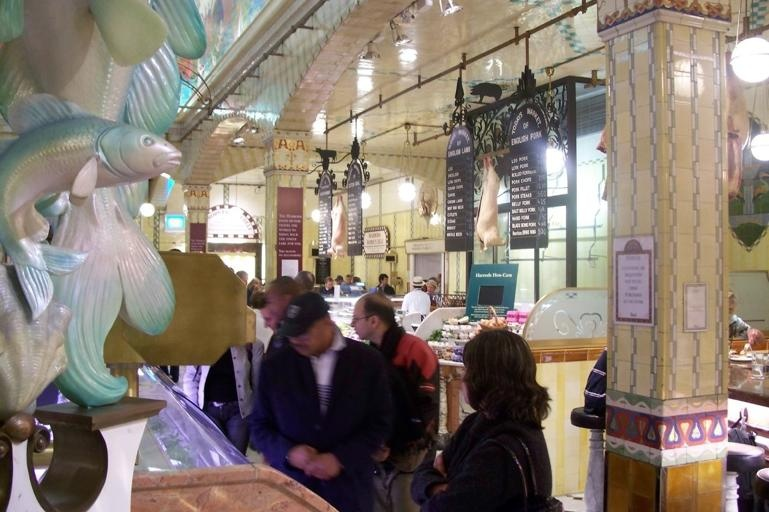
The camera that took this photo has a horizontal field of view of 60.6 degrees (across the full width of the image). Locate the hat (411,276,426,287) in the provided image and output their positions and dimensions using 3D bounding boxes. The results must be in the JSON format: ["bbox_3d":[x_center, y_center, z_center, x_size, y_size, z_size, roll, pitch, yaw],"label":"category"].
[{"bbox_3d":[0.695,0.531,13.593,0.351,0.165,0.410,4,4,-3],"label":"hat"}]

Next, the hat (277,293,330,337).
[{"bbox_3d":[-0.380,0.265,3.155,0.234,0.178,0.322,5,10,43],"label":"hat"}]
